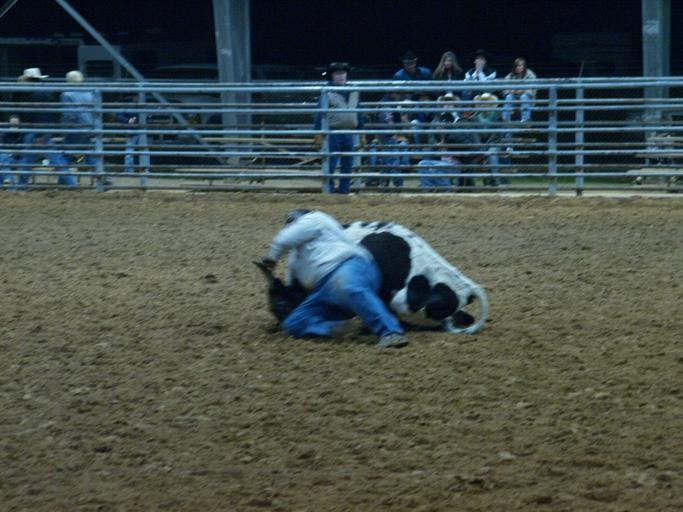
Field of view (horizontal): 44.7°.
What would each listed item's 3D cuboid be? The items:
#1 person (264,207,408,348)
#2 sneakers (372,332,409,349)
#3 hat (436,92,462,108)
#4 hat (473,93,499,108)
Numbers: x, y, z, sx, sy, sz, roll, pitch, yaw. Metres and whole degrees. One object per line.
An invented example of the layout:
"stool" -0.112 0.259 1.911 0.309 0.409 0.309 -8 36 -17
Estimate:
"person" 0.090 0.070 6.664 1.185 0.623 1.760 -5 28 -14
"sneakers" 0.372 0.653 6.353 0.257 0.057 0.108 0 -10 -6
"hat" 1.497 -2.153 11.511 0.525 0.108 0.419 -1 -2 -2
"hat" 1.988 -2.161 11.587 0.474 0.138 0.489 1 0 15
